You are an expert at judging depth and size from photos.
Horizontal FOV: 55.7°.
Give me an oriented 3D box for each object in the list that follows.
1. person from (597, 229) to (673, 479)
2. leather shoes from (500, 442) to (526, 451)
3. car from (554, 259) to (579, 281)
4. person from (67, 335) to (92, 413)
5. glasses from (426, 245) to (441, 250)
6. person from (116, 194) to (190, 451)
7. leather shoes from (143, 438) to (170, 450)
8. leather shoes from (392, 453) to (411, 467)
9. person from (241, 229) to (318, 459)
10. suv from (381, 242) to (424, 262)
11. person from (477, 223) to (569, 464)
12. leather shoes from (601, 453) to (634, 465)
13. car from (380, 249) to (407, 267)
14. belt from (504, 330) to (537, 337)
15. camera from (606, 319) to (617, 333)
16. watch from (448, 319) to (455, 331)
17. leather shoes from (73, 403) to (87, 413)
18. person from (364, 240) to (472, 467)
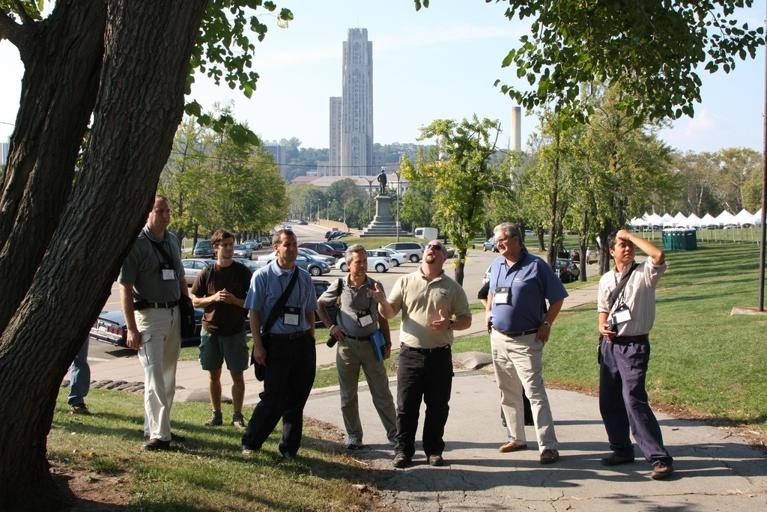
[{"bbox_3d":[2.754,1.003,7.965,0.671,2.548,1.053,0,7,-4],"label":"person"},{"bbox_3d":[1.477,2.200,8.407,0.322,0.132,0.110,4,-3,-12],"label":"leather shoes"},{"bbox_3d":[8.700,0.675,34.522,0.850,0.704,2.066,1,7,22],"label":"car"},{"bbox_3d":[-4.007,1.539,9.529,0.268,1.033,0.825,-2,7,-24],"label":"person"},{"bbox_3d":[0.571,-0.104,8.135,0.149,0.056,0.068,-2,7,-23],"label":"glasses"},{"bbox_3d":[-2.526,0.727,8.079,0.703,2.771,0.913,1,7,-4],"label":"person"},{"bbox_3d":[-2.452,2.027,7.822,0.251,0.111,0.107,7,-4,-16],"label":"leather shoes"},{"bbox_3d":[0.198,2.277,8.073,0.103,0.102,0.224,5,8,14],"label":"leather shoes"},{"bbox_3d":[-1.158,0.975,8.142,0.906,2.543,0.688,-3,8,-30],"label":"person"},{"bbox_3d":[1.573,-0.303,51.979,2.576,1.038,1.212,4,3,1],"label":"suv"},{"bbox_3d":[1.593,0.953,8.247,0.933,2.608,0.590,4,7,27],"label":"person"},{"bbox_3d":[2.567,2.236,8.035,0.366,0.150,0.138,3,-5,-9],"label":"leather shoes"},{"bbox_3d":[0.612,0.118,47.460,1.784,0.618,0.815,10,7,1],"label":"car"},{"bbox_3d":[1.555,0.874,8.190,0.332,0.086,0.053,2,7,7],"label":"belt"},{"bbox_3d":[2.522,0.774,7.994,0.125,0.128,0.095,12,11,23],"label":"camera"},{"bbox_3d":[0.771,0.771,8.119,0.067,0.108,0.105,1,-4,13],"label":"watch"},{"bbox_3d":[-3.917,1.969,9.387,0.242,0.113,0.089,-1,-2,27],"label":"leather shoes"},{"bbox_3d":[0.461,1.085,8.218,1.004,2.489,0.663,2,7,6],"label":"person"}]
